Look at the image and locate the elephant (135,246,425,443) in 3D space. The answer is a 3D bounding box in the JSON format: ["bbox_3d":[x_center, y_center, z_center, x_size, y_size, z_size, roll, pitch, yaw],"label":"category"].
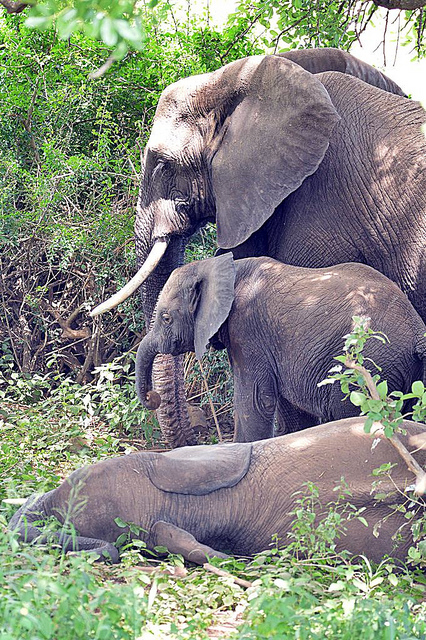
[{"bbox_3d":[0.315,0.086,3.376,1.285,0.726,0.586,6,18,29],"label":"elephant"}]

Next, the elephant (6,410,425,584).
[{"bbox_3d":[0.147,0.608,2.559,1.797,0.587,0.551,-2,-13,11],"label":"elephant"}]
